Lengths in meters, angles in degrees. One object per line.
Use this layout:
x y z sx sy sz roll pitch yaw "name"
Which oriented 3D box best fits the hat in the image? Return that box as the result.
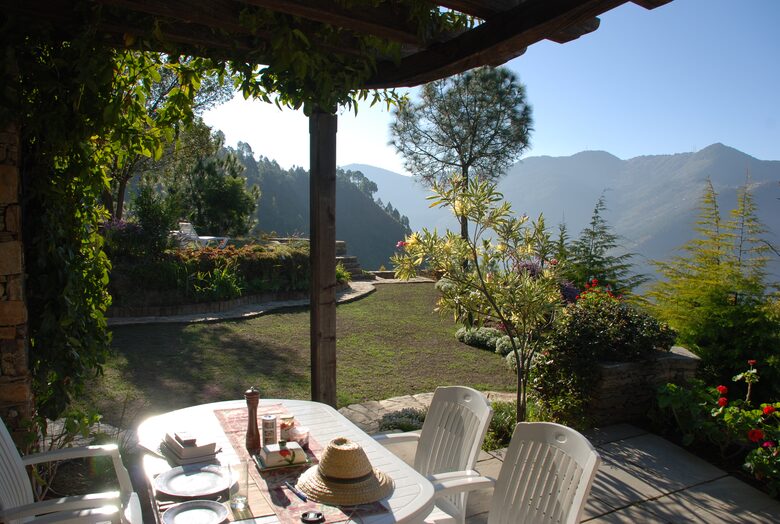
-0.268 1.336 3.218 0.413 0.186 0.407 2 2 -34 "hat"
